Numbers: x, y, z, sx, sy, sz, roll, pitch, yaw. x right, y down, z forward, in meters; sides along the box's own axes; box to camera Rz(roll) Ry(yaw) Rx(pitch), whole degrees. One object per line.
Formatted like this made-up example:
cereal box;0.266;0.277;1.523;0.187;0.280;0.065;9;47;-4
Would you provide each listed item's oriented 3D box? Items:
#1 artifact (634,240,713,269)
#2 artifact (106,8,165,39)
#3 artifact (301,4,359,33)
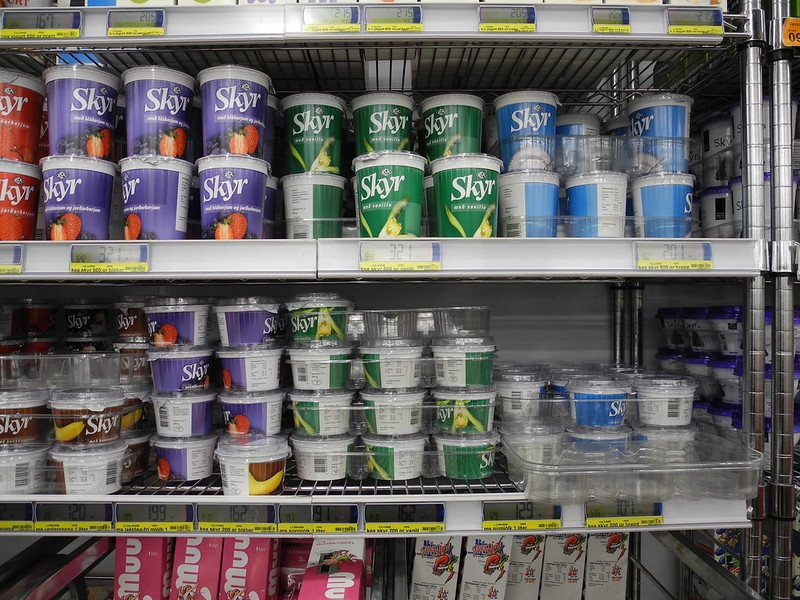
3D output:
artifact;0.809;-0.128;2.192;0.233;0.098;0.023;-6;4;-4
artifact;-0.796;-0.831;2.229;0.172;0.065;0.020;-5;4;3
artifact;-0.208;-0.844;2.232;0.166;0.099;0.022;-5;4;0
